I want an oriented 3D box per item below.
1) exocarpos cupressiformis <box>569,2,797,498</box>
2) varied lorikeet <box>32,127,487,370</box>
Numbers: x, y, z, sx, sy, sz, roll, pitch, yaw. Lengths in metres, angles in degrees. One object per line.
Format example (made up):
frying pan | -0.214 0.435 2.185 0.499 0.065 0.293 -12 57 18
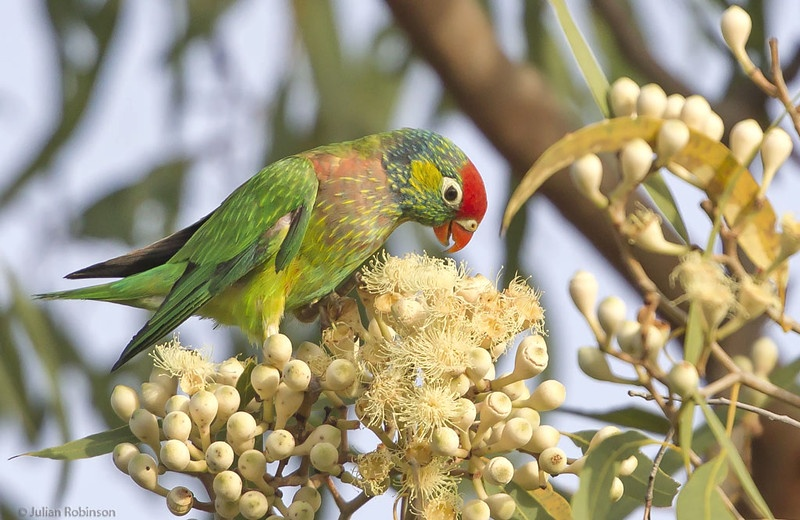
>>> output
exocarpos cupressiformis | 0.880 0.109 4.062 0.669 0.960 1.008 -24 55 -37
varied lorikeet | -0.710 -0.038 5.411 2.172 1.284 0.774 2 -1 -1
